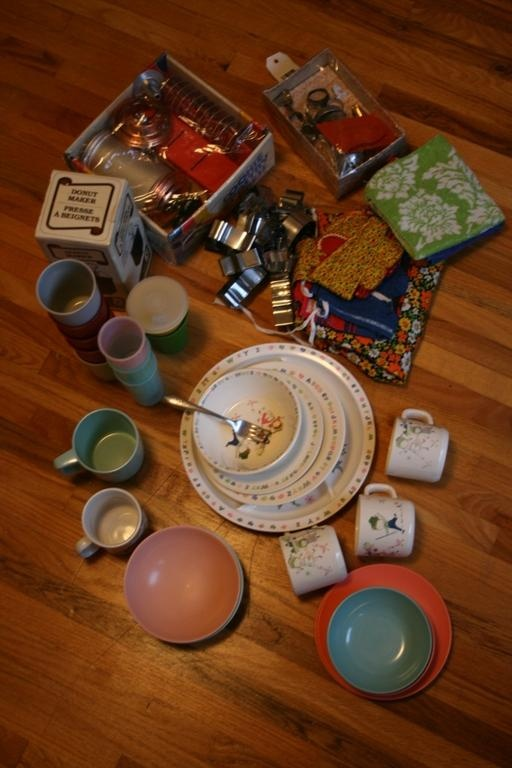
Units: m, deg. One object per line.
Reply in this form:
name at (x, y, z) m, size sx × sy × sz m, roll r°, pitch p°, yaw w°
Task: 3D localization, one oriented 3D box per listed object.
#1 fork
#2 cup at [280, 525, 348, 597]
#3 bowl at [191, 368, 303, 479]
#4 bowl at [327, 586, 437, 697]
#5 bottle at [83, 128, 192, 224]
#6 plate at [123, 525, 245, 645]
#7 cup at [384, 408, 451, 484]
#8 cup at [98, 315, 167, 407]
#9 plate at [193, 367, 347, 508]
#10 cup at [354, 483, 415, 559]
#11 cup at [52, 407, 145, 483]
fork at (-0.055, 0.057, 1.013) m, size 0.169 × 0.023 × 0.028 m, roll 22°, pitch 87°, yaw 2°
cup at (0.082, 0.252, 0.901) m, size 0.080 × 0.056 × 0.085 m, roll -3°, pitch 60°, yaw 5°
bowl at (-0.016, 0.065, 1.002) m, size 0.162 × 0.060 × 0.166 m, roll -2°, pitch 81°, yaw 15°
bowl at (0.177, 0.371, 0.885) m, size 0.136 × 0.079 × 0.141 m, roll -3°, pitch 60°, yaw 5°
bottle at (-0.216, -0.365, 1.094) m, size 0.198 × 0.115 × 0.122 m, roll 41°, pitch 58°, yaw 9°
plate at (-0.101, 0.291, 0.891) m, size 0.158 × 0.086 × 0.150 m, roll 2°, pitch 60°, yaw 7°
cup at (0.247, 0.098, 0.956) m, size 0.091 × 0.092 × 0.121 m, roll 3°, pitch 89°, yaw 10°
cup at (-0.192, -0.027, 0.994) m, size 0.067 × 0.221 × 0.081 m, roll -26°, pitch 60°, yaw -8°
plate at (0.018, 0.078, 0.973) m, size 0.236 × 0.088 × 0.213 m, roll 20°, pitch 64°, yaw 17°
cup at (0.195, 0.204, 0.966) m, size 0.085 × 0.087 × 0.115 m, roll -2°, pitch 89°, yaw 0°
cup at (-0.251, 0.105, 1.010) m, size 0.156 × 0.104 × 0.101 m, roll -22°, pitch 83°, yaw -3°
